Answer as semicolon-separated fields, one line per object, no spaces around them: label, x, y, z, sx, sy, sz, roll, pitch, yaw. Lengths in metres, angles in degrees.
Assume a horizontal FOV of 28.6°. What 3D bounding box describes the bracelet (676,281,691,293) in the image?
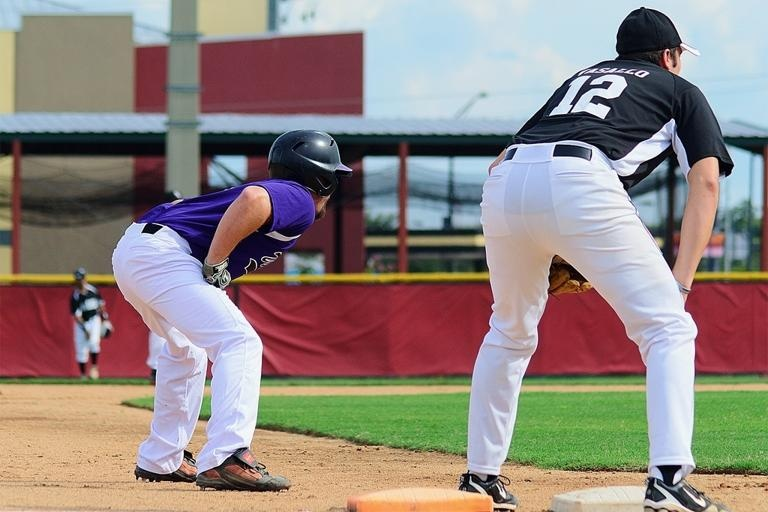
bracelet;3.462;0.348;17.109;0.095;0.159;0.244;1;-1;39

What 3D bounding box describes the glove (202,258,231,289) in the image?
glove;-1.973;0.199;17.608;0.294;0.298;0.366;1;-5;35

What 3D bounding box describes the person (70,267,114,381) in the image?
person;-4.887;1.118;24.549;0.542;1.397;0.590;1;-1;39
